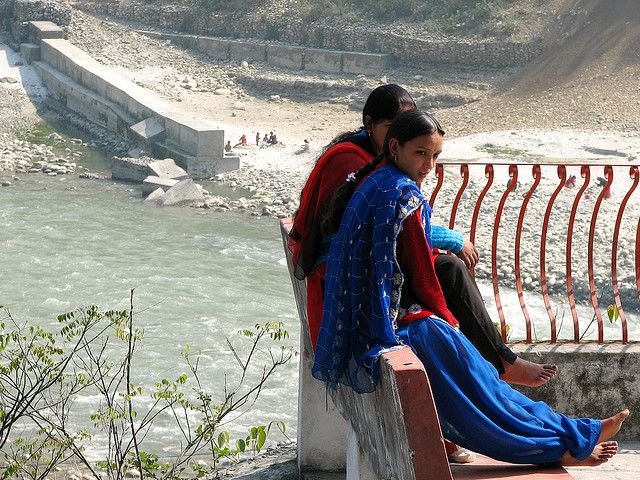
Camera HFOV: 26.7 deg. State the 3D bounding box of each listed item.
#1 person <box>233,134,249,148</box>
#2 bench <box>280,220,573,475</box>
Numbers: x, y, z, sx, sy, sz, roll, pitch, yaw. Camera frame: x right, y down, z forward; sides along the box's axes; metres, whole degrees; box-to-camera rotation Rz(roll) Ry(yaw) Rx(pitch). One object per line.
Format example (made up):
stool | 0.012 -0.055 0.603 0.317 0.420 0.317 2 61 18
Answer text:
person | -2.223 -2.701 37.555 0.200 0.681 0.329 -6 18 -39
bench | 1.705 1.987 23.732 1.661 2.446 4.104 -7 21 -14
